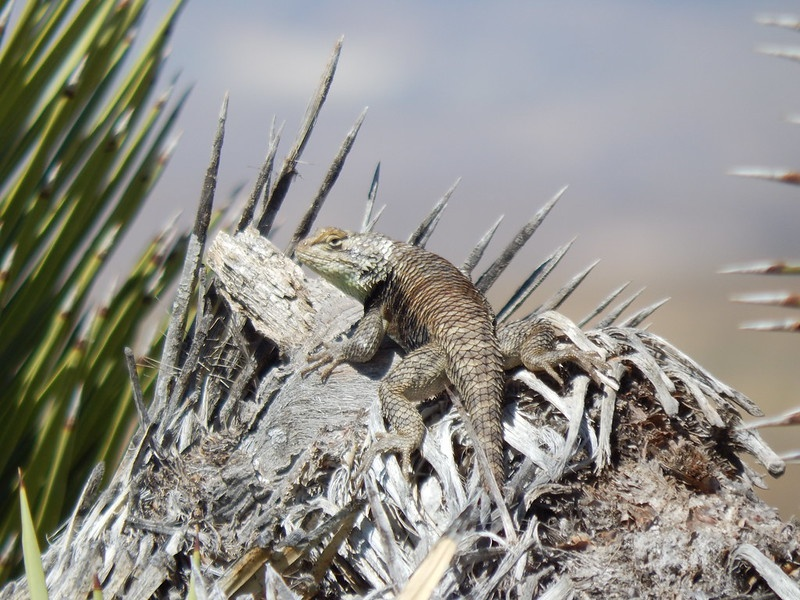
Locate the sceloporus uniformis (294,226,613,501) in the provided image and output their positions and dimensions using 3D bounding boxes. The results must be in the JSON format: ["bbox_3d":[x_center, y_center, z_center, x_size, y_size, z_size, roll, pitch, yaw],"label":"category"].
[{"bbox_3d":[0.078,0.099,6.413,0.940,1.150,0.392,-17,-57,-29],"label":"sceloporus uniformis"}]
